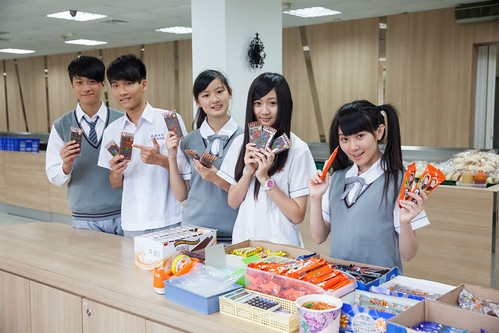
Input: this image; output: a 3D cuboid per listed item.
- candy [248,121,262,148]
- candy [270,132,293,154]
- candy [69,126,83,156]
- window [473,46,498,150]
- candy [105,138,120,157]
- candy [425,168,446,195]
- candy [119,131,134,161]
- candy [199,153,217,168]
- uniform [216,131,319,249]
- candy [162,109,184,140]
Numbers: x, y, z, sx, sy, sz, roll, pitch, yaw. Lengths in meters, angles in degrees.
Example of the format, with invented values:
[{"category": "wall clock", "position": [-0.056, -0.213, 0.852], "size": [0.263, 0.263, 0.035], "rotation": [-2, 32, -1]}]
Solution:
[{"category": "candy", "position": [0.040, -0.211, 2.430], "size": [0.118, 0.172, 0.043], "rotation": [2, 9, 30]}, {"category": "candy", "position": [0.208, -0.152, 2.384], "size": [0.138, 0.105, 0.051], "rotation": [-27, -9, 21]}, {"category": "candy", "position": [-1.421, -0.203, 2.977], "size": [0.090, 0.237, 0.112], "rotation": [-7, 9, -27]}, {"category": "window", "position": [4.316, -1.244, 6.587], "size": [0.365, 1.845, 0.129], "rotation": [-1, 8, 11]}, {"category": "candy", "position": [-1.065, -0.142, 2.799], "size": [0.074, 0.130, 0.156], "rotation": [-9, 10, -36]}, {"category": "candy", "position": [1.004, 0.092, 1.962], "size": [0.067, 0.185, 0.033], "rotation": [38, 46, 21]}, {"category": "candy", "position": [-0.937, -0.155, 2.753], "size": [0.110, 0.196, 0.056], "rotation": [5, 14, -15]}, {"category": "candy", "position": [-0.296, -0.037, 2.540], "size": [0.100, 0.041, 0.111], "rotation": [22, -40, -20]}, {"category": "uniform", "position": [0.106, 0.167, 2.520], "size": [0.741, 0.829, 0.426], "rotation": [5, 7, 29]}, {"category": "candy", "position": [-0.563, -0.328, 2.753], "size": [0.128, 0.233, 0.056], "rotation": [-17, 7, 28]}]
